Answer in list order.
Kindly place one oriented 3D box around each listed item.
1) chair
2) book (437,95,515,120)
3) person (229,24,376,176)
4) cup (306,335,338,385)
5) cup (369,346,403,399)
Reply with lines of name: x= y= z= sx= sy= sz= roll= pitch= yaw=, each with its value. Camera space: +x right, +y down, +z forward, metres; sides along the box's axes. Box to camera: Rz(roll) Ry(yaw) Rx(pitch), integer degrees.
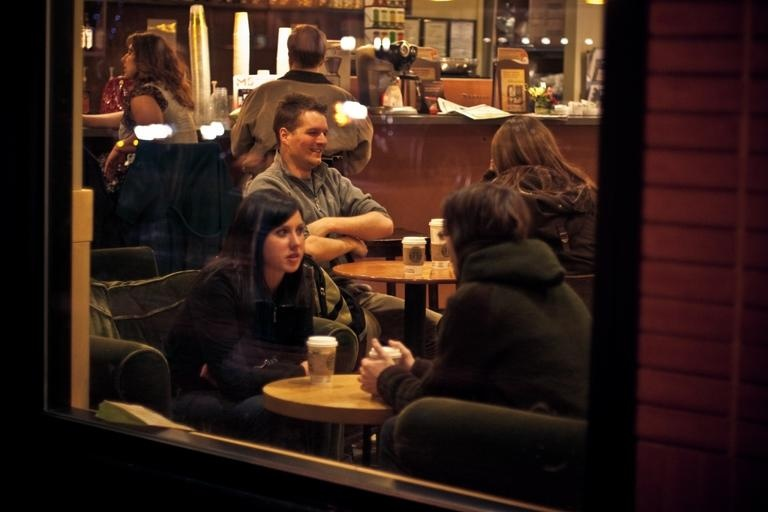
chair: x=0.218 y=0.087 z=1.896 sx=0.846 sy=0.790 sz=0.806 roll=4 pitch=3 yaw=40
book: x=0.324 y=-0.570 z=2.736 sx=0.331 sy=0.087 sz=0.372 roll=4 pitch=10 yaw=19
person: x=-0.387 y=-0.693 z=3.175 sx=0.784 sy=0.728 sz=0.455 roll=0 pitch=8 yaw=-7
cup: x=-0.173 y=0.285 z=1.988 sx=0.124 sy=0.133 sz=0.120 roll=0 pitch=7 yaw=0
cup: x=0.017 y=0.326 z=1.977 sx=0.118 sy=0.109 sz=0.110 roll=0 pitch=6 yaw=0
